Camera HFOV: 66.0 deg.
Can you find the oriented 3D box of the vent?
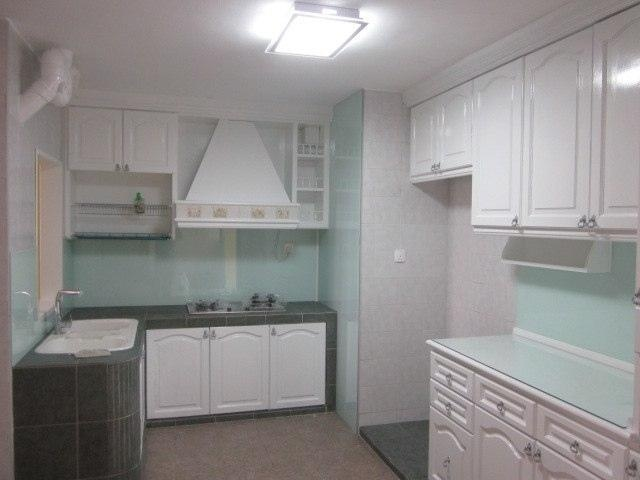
[{"bbox_3d":[-0.766,-0.718,4.717,1.143,1.070,0.441,0,31,-8],"label":"vent"}]

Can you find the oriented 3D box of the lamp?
[{"bbox_3d":[0.002,-1.291,3.048,0.523,0.124,0.594,-1,2,-22],"label":"lamp"}]
